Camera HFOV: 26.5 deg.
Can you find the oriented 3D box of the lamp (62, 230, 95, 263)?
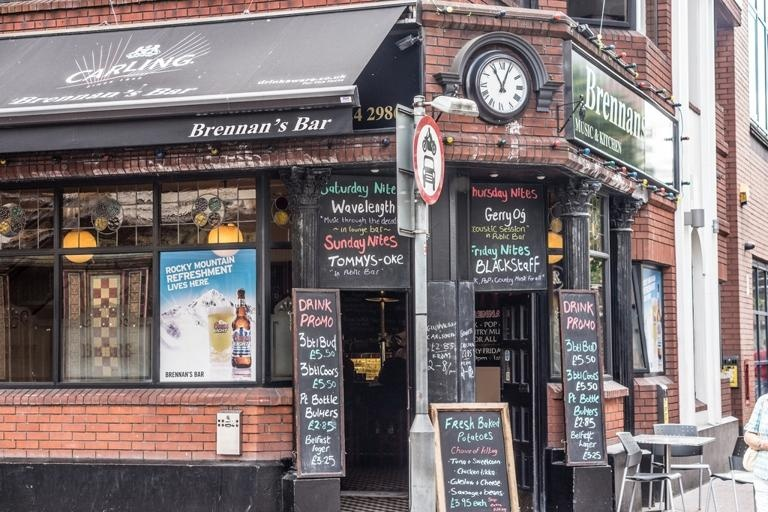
[{"bbox_3d":[-4.557,-0.145,24.437,0.490,0.563,0.487,0,-1,-11],"label":"lamp"}]

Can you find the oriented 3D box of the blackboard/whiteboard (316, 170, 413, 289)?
[{"bbox_3d":[-0.301,-0.338,23.636,1.736,1.979,0.096,1,-11,-4],"label":"blackboard/whiteboard"}]

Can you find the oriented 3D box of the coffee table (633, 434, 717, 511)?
[{"bbox_3d":[4.360,3.266,24.368,1.155,1.120,1.153,1,-5,8],"label":"coffee table"}]

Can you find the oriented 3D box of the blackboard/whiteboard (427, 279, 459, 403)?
[{"bbox_3d":[0.867,1.233,23.571,0.447,1.714,0.278,-2,-10,0],"label":"blackboard/whiteboard"}]

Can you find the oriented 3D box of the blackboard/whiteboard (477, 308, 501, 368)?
[{"bbox_3d":[1.689,1.255,25.509,0.315,0.888,0.683,5,-12,-33],"label":"blackboard/whiteboard"}]

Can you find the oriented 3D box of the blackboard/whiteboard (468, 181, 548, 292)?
[{"bbox_3d":[1.825,-0.242,24.250,1.671,2.167,0.230,0,-4,-8],"label":"blackboard/whiteboard"}]

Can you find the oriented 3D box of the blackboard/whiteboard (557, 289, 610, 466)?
[{"bbox_3d":[2.901,1.777,23.962,0.769,2.582,0.316,5,-12,-32],"label":"blackboard/whiteboard"}]

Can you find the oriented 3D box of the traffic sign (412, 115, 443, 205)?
[{"bbox_3d":[0.597,-1.341,22.494,0.189,1.211,0.723,-8,-12,29],"label":"traffic sign"}]
